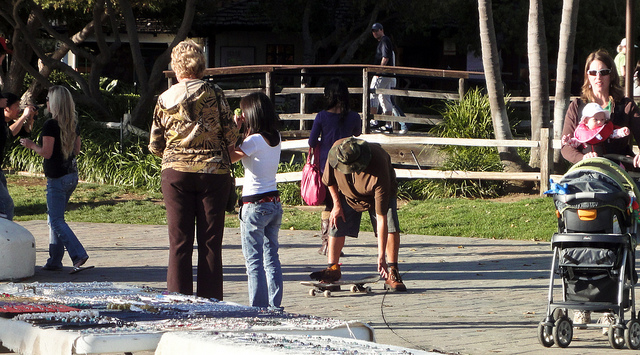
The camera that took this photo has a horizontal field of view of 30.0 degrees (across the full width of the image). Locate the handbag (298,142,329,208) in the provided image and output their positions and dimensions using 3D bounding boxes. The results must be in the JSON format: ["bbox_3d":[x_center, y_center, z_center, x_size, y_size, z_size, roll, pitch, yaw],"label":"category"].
[{"bbox_3d":[-0.153,-0.081,26.441,0.493,1.542,0.839,-4,14,-22],"label":"handbag"}]

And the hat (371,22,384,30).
[{"bbox_3d":[1.812,-4.639,36.390,0.406,0.221,0.271,4,1,-26],"label":"hat"}]

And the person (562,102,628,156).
[{"bbox_3d":[5.786,-1.005,24.888,0.920,1.356,0.724,0,0,-12],"label":"person"}]

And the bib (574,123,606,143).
[{"bbox_3d":[5.639,-0.932,24.924,0.493,0.341,0.179,-31,-38,14],"label":"bib"}]

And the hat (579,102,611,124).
[{"bbox_3d":[5.768,-1.354,24.919,0.617,0.399,0.295,-1,1,1],"label":"hat"}]
